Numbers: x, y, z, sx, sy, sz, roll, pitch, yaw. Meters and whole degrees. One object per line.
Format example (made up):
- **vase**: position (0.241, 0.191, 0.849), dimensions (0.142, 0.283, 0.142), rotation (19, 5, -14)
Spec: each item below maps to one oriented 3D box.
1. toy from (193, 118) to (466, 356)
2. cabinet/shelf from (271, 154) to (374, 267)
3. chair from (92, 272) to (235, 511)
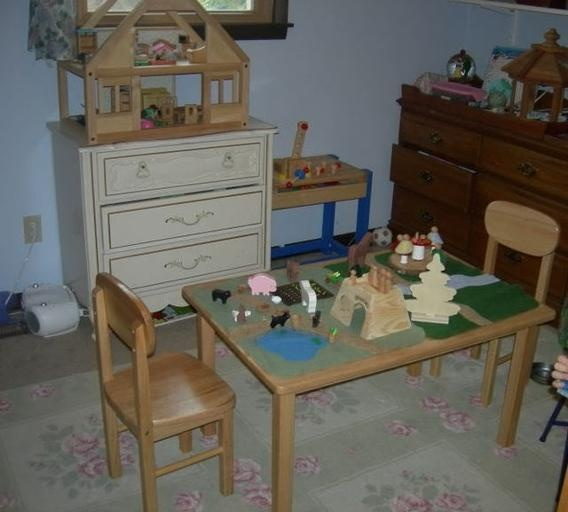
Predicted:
- **toy**: position (0.268, -0.165, 3.887), dimensions (1.635, 1.378, 0.799), rotation (-12, 42, -16)
- **cabinet/shelf**: position (0.225, -0.311, 3.349), dimensions (0.761, 0.559, 0.375), rotation (-14, 40, -20)
- **chair**: position (-0.417, 0.500, 1.783), dimensions (0.439, 0.768, 0.472), rotation (-19, 38, -30)
